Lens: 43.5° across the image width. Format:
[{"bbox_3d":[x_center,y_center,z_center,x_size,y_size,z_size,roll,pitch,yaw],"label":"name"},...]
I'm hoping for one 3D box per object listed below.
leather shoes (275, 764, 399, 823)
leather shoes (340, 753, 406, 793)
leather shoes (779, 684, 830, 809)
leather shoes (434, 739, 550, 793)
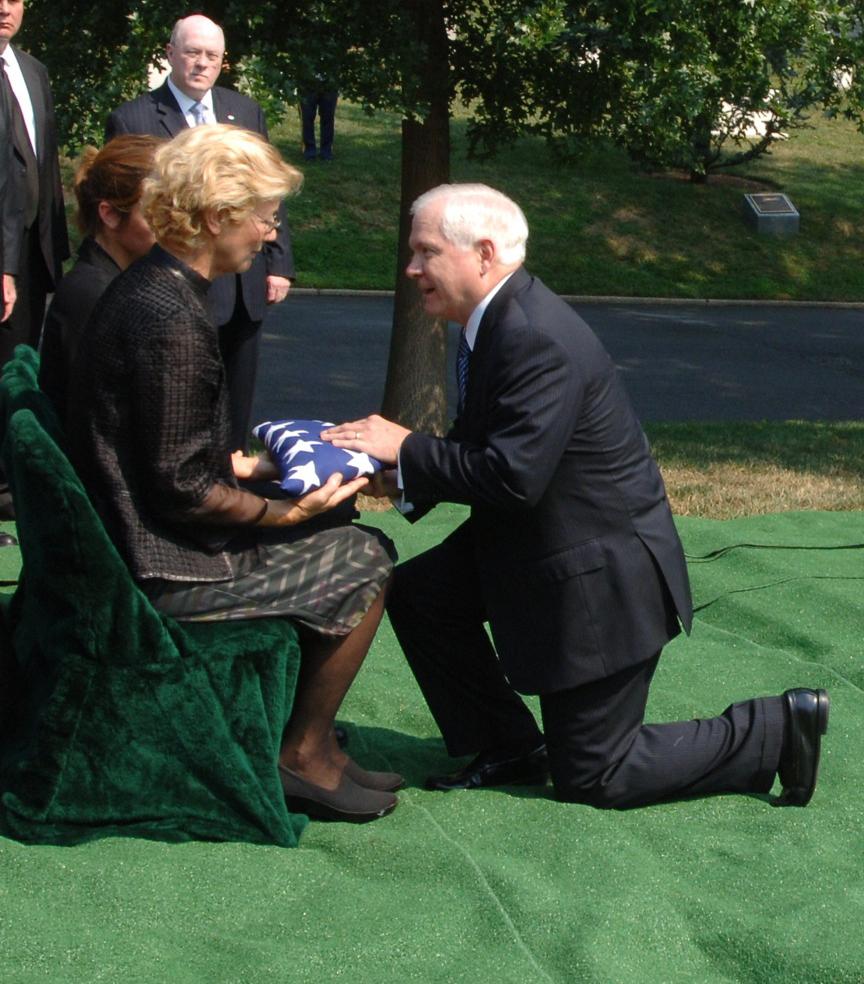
[{"bbox_3d":[-0.222,0.742,2.651,0.339,0.108,0.111,7,9,-21],"label":"leather shoes"},{"bbox_3d":[-0.153,0.727,2.768,0.236,0.074,0.069,7,-1,-18],"label":"leather shoes"},{"bbox_3d":[0.935,0.656,2.840,0.123,0.308,0.157,16,29,41],"label":"leather shoes"},{"bbox_3d":[0.187,0.795,3.090,0.386,0.129,0.113,4,-9,-19],"label":"leather shoes"}]
